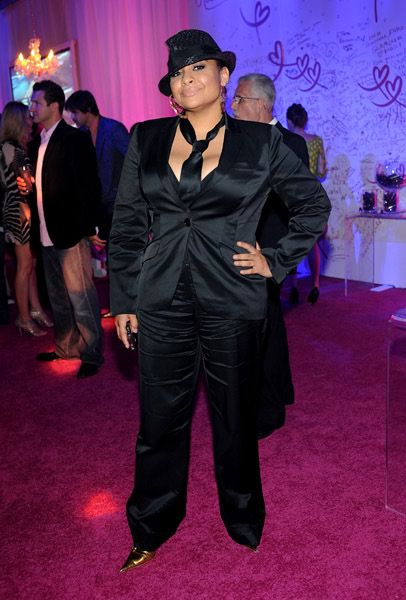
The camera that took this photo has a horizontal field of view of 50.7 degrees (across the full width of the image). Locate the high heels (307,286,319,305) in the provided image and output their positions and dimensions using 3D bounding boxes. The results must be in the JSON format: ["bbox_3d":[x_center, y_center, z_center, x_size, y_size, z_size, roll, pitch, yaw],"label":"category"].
[{"bbox_3d":[1.086,-0.040,4.248,0.099,0.193,0.067,7,15,18],"label":"high heels"}]

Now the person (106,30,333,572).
[{"bbox_3d":[0.029,0.082,1.059,0.471,1.336,0.383,4,10,44],"label":"person"}]

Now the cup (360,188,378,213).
[{"bbox_3d":[1.708,-1.004,4.441,0.139,0.212,0.248,0,9,21],"label":"cup"}]

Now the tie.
[{"bbox_3d":[-0.018,-0.291,0.867,0.090,0.025,0.206,4,66,19],"label":"tie"}]

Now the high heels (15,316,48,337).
[{"bbox_3d":[-1.545,0.236,3.888,0.320,0.174,0.117,7,15,9],"label":"high heels"}]

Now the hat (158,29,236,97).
[{"bbox_3d":[-0.023,-0.509,0.896,0.154,0.090,0.150,-20,12,-21],"label":"hat"}]
